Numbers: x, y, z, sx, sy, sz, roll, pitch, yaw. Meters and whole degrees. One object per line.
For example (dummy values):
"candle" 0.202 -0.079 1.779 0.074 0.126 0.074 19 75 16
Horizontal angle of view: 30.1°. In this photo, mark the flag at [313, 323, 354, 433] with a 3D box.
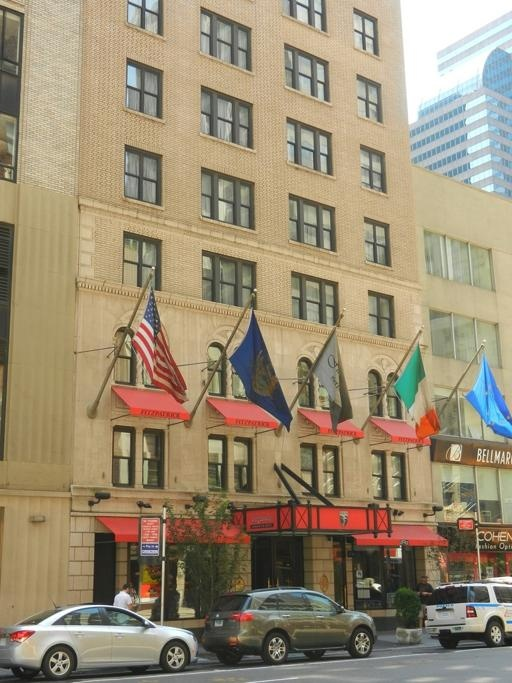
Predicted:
"flag" 2.472 1.150 30.558 1.059 3.416 0.584 -3 -19 4

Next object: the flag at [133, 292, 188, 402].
"flag" -2.915 0.267 28.459 0.343 3.137 2.388 -20 -40 17

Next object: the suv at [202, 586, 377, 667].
"suv" 0.913 6.690 22.341 4.420 1.673 1.527 13 -23 -36

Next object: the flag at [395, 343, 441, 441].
"flag" 5.575 1.615 33.046 0.729 3.277 1.591 -18 -25 41

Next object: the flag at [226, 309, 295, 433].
"flag" 0.122 0.782 28.601 0.643 3.352 2.144 -15 -23 35

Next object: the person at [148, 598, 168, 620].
"person" -2.911 8.037 28.465 0.635 0.851 0.424 -2 -10 -13

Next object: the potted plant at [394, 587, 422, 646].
"potted plant" 4.404 7.922 27.337 0.737 1.569 1.363 -4 -19 7
